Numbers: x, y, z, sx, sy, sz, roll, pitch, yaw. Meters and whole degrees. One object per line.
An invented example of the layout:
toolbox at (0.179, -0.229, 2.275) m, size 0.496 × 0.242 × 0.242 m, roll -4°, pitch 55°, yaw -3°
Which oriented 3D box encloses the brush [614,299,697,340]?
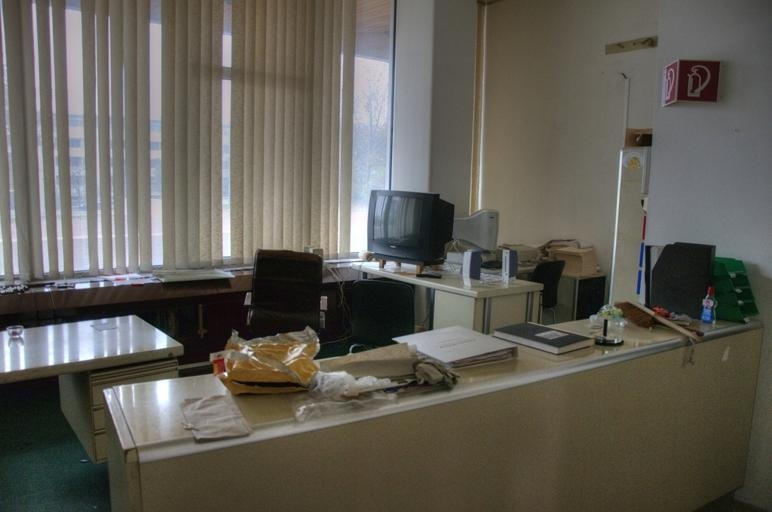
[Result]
brush at (1.661, 0.401, 3.667) m, size 0.481 × 0.111 × 0.100 m, roll 23°, pitch -2°, yaw 16°

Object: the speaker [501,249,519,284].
speaker at (1.043, 0.088, 4.870) m, size 0.148 × 0.267 × 0.137 m, roll -2°, pitch 2°, yaw 8°

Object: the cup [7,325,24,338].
cup at (-2.411, 0.490, 3.824) m, size 0.082 × 0.060 × 0.084 m, roll 2°, pitch -4°, yaw 0°

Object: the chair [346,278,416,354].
chair at (0.063, 0.459, 4.695) m, size 0.511 × 0.693 × 0.574 m, roll 3°, pitch 1°, yaw 14°

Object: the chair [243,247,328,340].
chair at (-0.787, 0.308, 4.995) m, size 0.706 × 1.039 × 0.656 m, roll 5°, pitch -1°, yaw -7°

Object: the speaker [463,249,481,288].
speaker at (0.696, 0.093, 4.750) m, size 0.132 × 0.267 × 0.188 m, roll -2°, pitch 14°, yaw -1°

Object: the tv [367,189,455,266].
tv at (0.248, -0.260, 5.440) m, size 0.434 × 0.640 × 0.789 m, roll -1°, pitch 8°, yaw -45°

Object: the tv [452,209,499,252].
tv at (0.769, -0.230, 5.508) m, size 0.565 × 0.393 × 0.518 m, roll -1°, pitch 2°, yaw -11°
